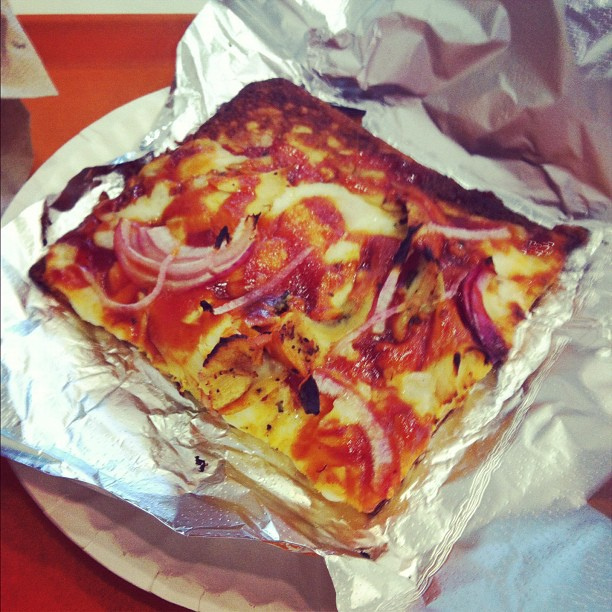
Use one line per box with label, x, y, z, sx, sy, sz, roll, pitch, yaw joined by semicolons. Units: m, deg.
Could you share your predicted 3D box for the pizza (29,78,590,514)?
pizza;-0.036;0.250;1.239;0.807;0.839;0.092;22;69;46
